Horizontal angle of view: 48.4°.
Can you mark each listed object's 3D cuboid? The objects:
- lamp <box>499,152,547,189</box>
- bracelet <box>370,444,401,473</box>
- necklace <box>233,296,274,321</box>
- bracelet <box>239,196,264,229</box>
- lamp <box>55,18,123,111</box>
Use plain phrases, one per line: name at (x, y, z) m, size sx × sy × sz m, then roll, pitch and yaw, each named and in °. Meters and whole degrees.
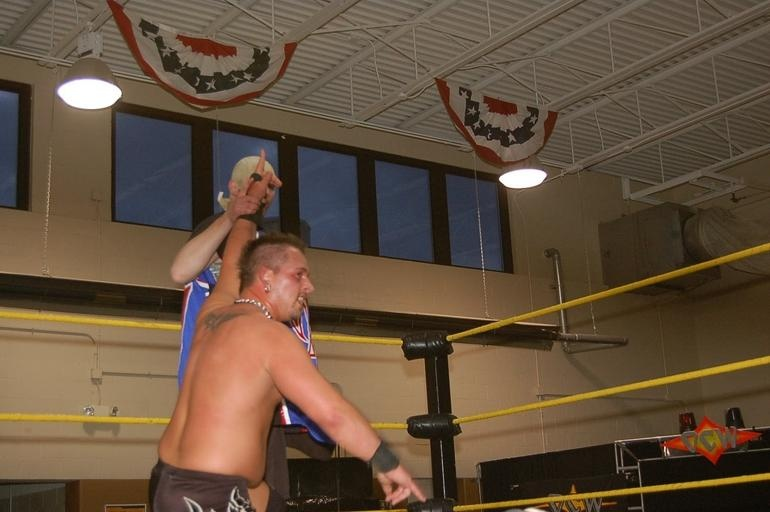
lamp at (1.873, -1.206, 11.693) m, size 0.603 × 0.407 × 0.452 m, roll -6°, pitch -18°, yaw 10°
bracelet at (-0.014, 1.277, 5.445) m, size 0.181 × 0.182 × 0.139 m, roll -11°, pitch -20°, yaw 26°
necklace at (-0.852, 0.324, 5.618) m, size 0.146 × 0.071 × 0.184 m, roll -1°, pitch -18°, yaw 26°
bracelet at (-0.929, -0.298, 5.958) m, size 0.071 × 0.170 × 0.168 m, roll 10°, pitch 13°, yaw 35°
lamp at (-3.377, -2.282, 9.884) m, size 0.605 × 0.983 × 0.679 m, roll 12°, pitch -22°, yaw -37°
